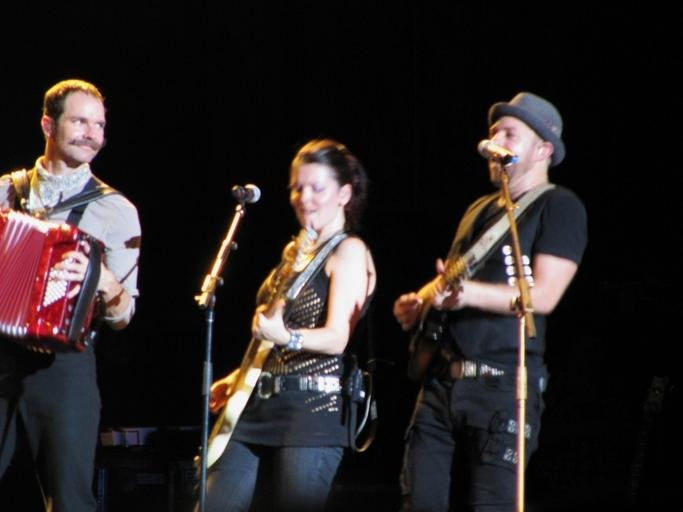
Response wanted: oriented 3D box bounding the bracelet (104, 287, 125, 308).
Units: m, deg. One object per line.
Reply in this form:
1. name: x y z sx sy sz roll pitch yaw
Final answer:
1. bracelet: -1.276 0.234 5.077 0.027 0.082 0.110 46 -36 -11

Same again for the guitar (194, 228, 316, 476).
1. guitar: -0.487 0.541 4.933 0.167 1.447 0.522 34 -7 -2

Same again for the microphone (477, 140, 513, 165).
1. microphone: 0.820 -0.540 4.849 0.083 0.089 0.242 41 -4 -36

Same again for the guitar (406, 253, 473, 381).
1. guitar: 0.551 0.365 5.067 0.139 0.404 1.027 28 -36 6
